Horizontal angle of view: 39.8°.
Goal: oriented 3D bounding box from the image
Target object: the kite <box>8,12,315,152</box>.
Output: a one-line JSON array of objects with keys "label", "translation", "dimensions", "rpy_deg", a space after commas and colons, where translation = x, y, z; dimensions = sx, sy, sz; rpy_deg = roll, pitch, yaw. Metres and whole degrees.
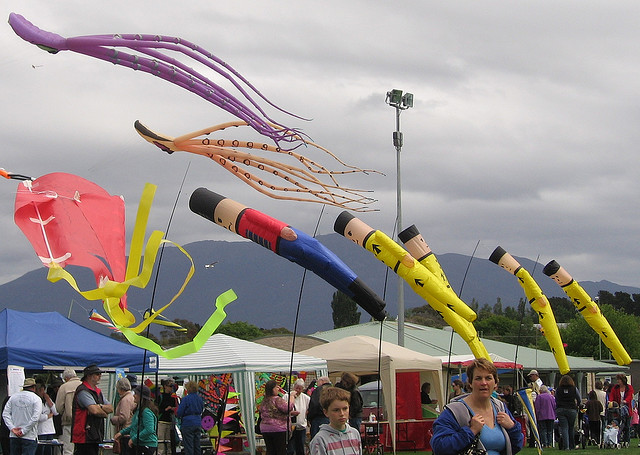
[{"label": "kite", "translation": [-2.858, -2.581, 14.706], "dimensions": [4.421, 1.676, 0.687], "rpy_deg": [1, -14, -18]}]

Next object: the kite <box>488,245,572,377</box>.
[{"label": "kite", "translation": [6.443, 2.537, 26.683], "dimensions": [1.511, 3.889, 2.355], "rpy_deg": [-10, -15, 27]}]

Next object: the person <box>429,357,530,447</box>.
[{"label": "person", "translation": [2.279, 2.566, 12.966], "dimensions": [1.337, 1.245, 0.493], "rpy_deg": [-2, -13, -2]}]
